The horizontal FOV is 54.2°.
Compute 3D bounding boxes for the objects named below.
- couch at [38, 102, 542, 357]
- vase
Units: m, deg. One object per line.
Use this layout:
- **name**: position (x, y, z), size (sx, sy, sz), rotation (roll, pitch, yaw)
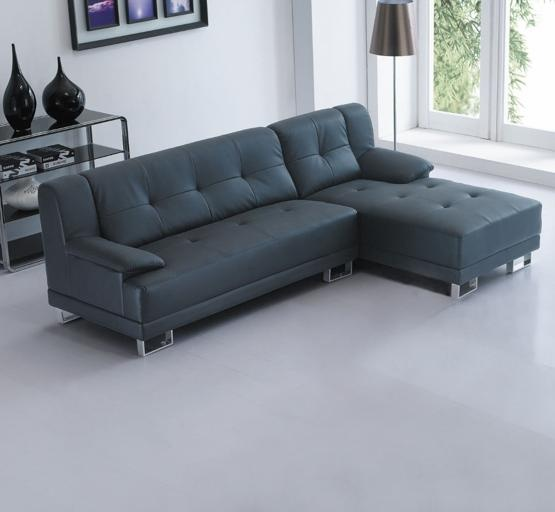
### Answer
- **couch**: position (0.000, -0.142, 3.223), size (1.067, 0.541, 1.667), rotation (22, 34, 40)
- **vase**: position (-1.685, -1.195, 3.872), size (0.604, 0.598, 0.307), rotation (-16, 30, -33)
